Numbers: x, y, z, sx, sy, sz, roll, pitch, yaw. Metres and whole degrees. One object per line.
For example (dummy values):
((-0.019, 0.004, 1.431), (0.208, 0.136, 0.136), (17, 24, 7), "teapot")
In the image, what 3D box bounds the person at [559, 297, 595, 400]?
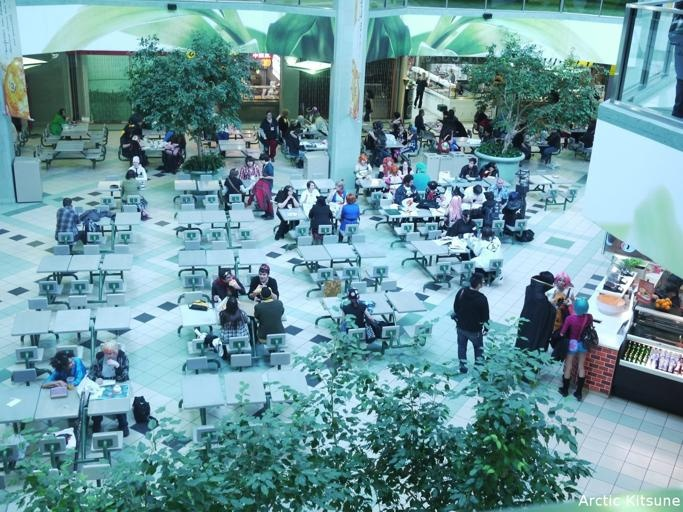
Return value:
((3.972, 1.599, 8.705), (0.554, 1.795, 0.466), (8, 22, 23), "person")

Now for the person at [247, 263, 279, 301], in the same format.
((-1.556, 0.524, 10.078), (0.502, 0.895, 0.523), (5, 46, 0), "person")

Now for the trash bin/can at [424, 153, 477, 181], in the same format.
((3.675, -3.014, 17.351), (1.337, 0.685, 0.411), (-3, 26, -12), "trash bin/can")

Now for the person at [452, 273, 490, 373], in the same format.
((2.206, 1.093, 8.831), (0.609, 1.738, 0.375), (8, 22, 21), "person")

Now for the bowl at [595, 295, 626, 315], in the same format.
((4.908, 0.865, 9.389), (0.374, 0.133, 0.381), (-3, 28, 2), "bowl")

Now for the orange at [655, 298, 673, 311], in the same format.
((5.882, 0.872, 9.358), (0.252, 0.098, 0.210), (-3, 15, -16), "orange")

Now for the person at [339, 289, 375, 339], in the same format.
((0.321, 1.089, 9.272), (0.615, 1.024, 0.812), (0, 20, 0), "person")

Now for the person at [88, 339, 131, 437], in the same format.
((-3.538, 1.964, 7.805), (0.601, 1.181, 0.880), (-8, 22, -21), "person")

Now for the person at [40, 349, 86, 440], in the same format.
((-4.090, 1.924, 7.644), (0.578, 1.003, 1.255), (-12, 23, -29), "person")

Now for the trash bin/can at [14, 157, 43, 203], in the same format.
((-8.970, -2.170, 14.688), (0.601, 0.999, 1.064), (-3, 21, -14), "trash bin/can")

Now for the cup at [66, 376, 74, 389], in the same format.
((-3.956, 1.858, 7.498), (0.118, 0.148, 0.105), (15, 25, 35), "cup")

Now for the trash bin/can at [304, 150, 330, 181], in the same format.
((-0.821, -2.985, 16.767), (1.037, 0.973, 1.006), (-6, 23, -15), "trash bin/can")

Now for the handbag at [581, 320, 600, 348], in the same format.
((4.145, 1.320, 8.561), (0.254, 0.466, 0.452), (5, 11, 18), "handbag")
